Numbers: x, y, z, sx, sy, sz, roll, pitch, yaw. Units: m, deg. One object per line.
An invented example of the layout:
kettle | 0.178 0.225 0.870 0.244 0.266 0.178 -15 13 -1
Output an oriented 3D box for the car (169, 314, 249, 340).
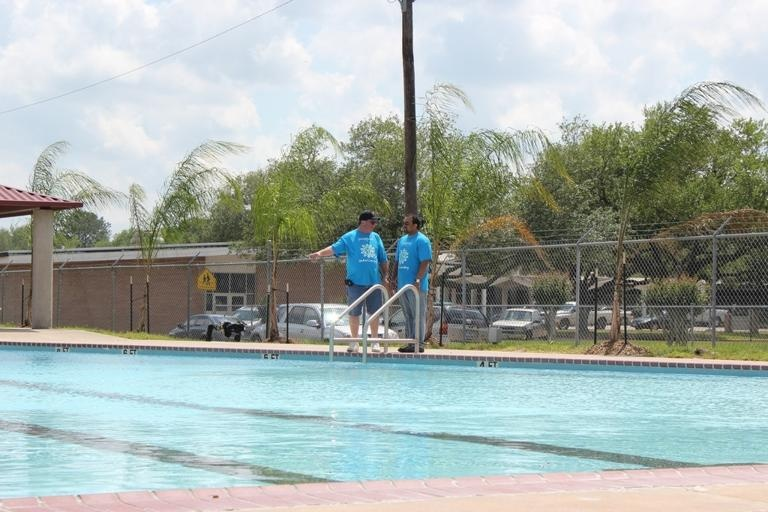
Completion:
car | -5.174 2.097 33.244 1.078 0.783 2.304 4 -2 -44

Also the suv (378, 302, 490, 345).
suv | 1.636 1.787 29.894 2.162 0.957 1.176 2 -1 15
